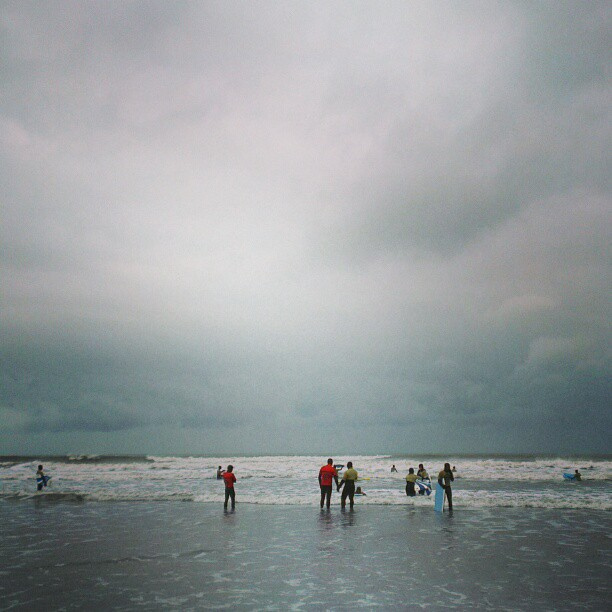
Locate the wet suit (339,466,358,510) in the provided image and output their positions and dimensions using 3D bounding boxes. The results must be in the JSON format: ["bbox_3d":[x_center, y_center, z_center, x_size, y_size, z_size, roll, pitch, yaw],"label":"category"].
[{"bbox_3d":[1.718,7.430,29.264,0.698,1.661,2.123,-1,-14,3],"label":"wet suit"}]

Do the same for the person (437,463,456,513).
[{"bbox_3d":[5.556,7.197,28.847,0.685,2.276,0.616,-2,25,-1],"label":"person"}]

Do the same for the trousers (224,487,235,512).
[{"bbox_3d":[-3.169,8.016,29.781,0.453,0.909,1.213,1,-14,-6],"label":"trousers"}]

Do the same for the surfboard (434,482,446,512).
[{"bbox_3d":[5.385,7.703,28.942,0.426,1.091,1.558,-2,-14,10],"label":"surfboard"}]

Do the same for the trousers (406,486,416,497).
[{"bbox_3d":[4.833,8.490,32.954,0.430,0.431,0.515,-2,-14,6],"label":"trousers"}]

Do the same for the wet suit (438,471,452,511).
[{"bbox_3d":[5.604,7.410,28.760,0.516,1.517,2.326,-2,-14,11],"label":"wet suit"}]

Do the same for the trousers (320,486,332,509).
[{"bbox_3d":[0.813,7.723,29.009,0.374,0.869,1.039,0,-14,0],"label":"trousers"}]
